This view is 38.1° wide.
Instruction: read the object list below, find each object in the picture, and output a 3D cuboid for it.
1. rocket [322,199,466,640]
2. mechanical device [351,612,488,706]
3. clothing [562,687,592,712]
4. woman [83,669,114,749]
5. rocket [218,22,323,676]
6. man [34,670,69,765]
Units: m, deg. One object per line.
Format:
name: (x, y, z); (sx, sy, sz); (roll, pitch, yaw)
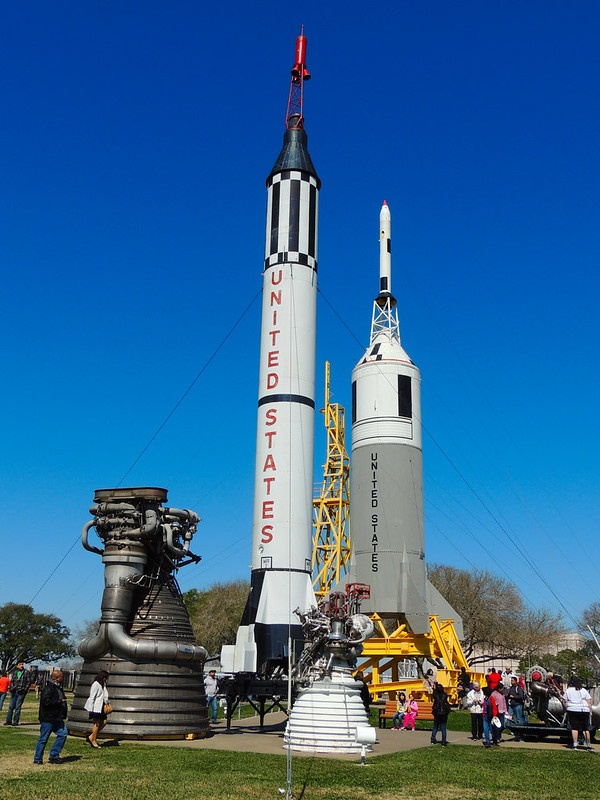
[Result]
rocket: (3.548, -0.712, 37.160); (3.015, 20.572, 5.052); (-2, -21, 4)
mechanical device: (4.451, 10.841, 36.534); (5.068, 3.051, 5.169); (-8, -20, 15)
clothing: (6.472, 7.056, 20.359); (0.550, 0.561, 0.573); (-7, -23, 15)
woman: (-4.419, 6.799, 19.076); (0.498, 1.674, 2.231); (4, -23, -11)
rocket: (-0.533, -1.379, 27.550); (2.333, 19.247, 1.716); (0, -21, -1)
man: (-4.548, 5.898, 16.020); (0.547, 1.578, 2.277); (5, -24, -14)
